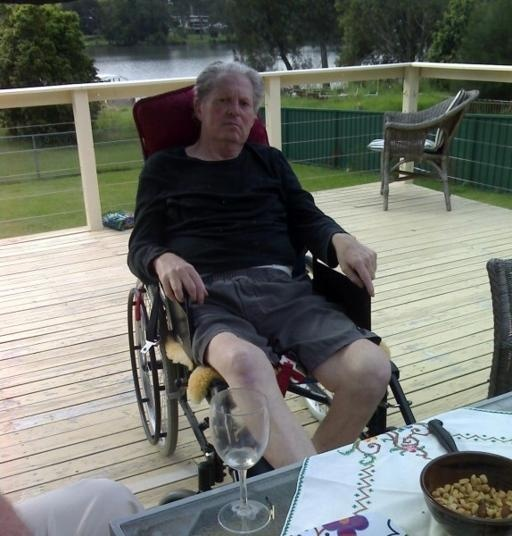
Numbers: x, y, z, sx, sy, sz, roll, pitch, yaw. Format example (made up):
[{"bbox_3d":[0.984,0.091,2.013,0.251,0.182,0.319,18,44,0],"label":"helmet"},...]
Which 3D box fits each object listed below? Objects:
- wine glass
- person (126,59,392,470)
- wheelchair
[{"bbox_3d":[-0.023,0.243,0.644,0.075,0.153,0.086,-6,20,-12],"label":"wine glass"},{"bbox_3d":[0.115,0.140,1.386,0.732,1.145,0.735,-4,10,-17],"label":"person"},{"bbox_3d":[0.150,0.252,1.502,0.580,0.784,0.979,-9,7,-19],"label":"wheelchair"}]
